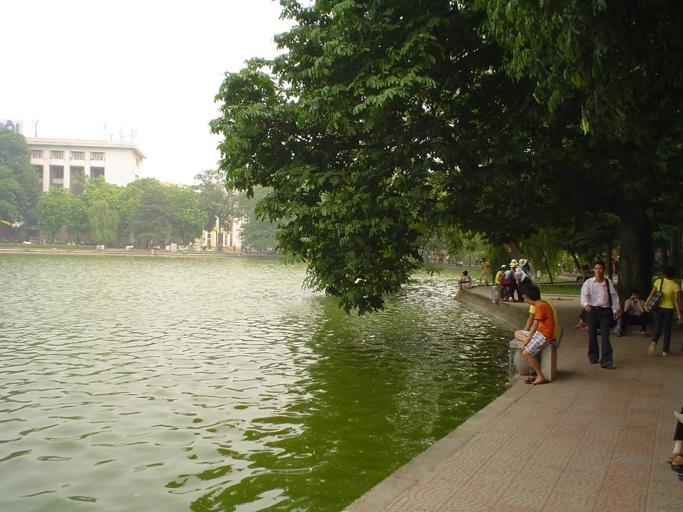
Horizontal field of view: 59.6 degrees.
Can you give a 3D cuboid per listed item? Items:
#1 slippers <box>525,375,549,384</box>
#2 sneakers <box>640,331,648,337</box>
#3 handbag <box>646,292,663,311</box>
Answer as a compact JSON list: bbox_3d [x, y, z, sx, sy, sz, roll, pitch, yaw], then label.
[{"bbox_3d":[4.003,2.514,12.150,0.380,0.095,0.208,5,-10,-28],"label":"slippers"},{"bbox_3d":[8.849,2.327,17.462,0.172,0.190,0.124,4,11,1],"label":"sneakers"},{"bbox_3d":[7.505,1.113,14.298,0.207,0.509,0.357,29,21,7],"label":"handbag"}]
